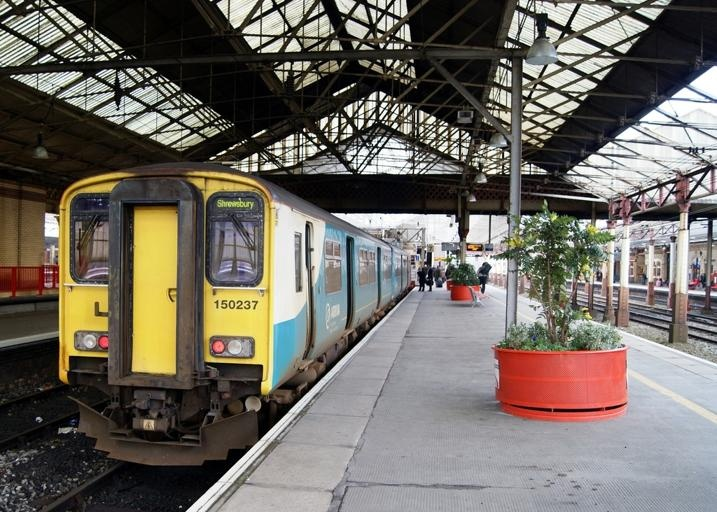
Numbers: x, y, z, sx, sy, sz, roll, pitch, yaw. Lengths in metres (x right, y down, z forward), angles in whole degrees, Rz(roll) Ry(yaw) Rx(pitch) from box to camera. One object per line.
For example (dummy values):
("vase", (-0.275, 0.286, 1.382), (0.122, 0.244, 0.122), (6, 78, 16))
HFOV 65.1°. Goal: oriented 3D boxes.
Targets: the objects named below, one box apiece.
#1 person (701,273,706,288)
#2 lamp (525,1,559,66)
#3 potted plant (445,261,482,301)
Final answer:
("person", (32.629, 2.337, 53.296), (0.274, 1.019, 2.104), (1, 4, 25))
("lamp", (3.482, -4.144, 10.698), (0.523, 0.832, 0.569), (-2, 11, -6))
("potted plant", (5.548, 1.305, 29.168), (1.495, 1.849, 1.643), (-1, -2, 10))
